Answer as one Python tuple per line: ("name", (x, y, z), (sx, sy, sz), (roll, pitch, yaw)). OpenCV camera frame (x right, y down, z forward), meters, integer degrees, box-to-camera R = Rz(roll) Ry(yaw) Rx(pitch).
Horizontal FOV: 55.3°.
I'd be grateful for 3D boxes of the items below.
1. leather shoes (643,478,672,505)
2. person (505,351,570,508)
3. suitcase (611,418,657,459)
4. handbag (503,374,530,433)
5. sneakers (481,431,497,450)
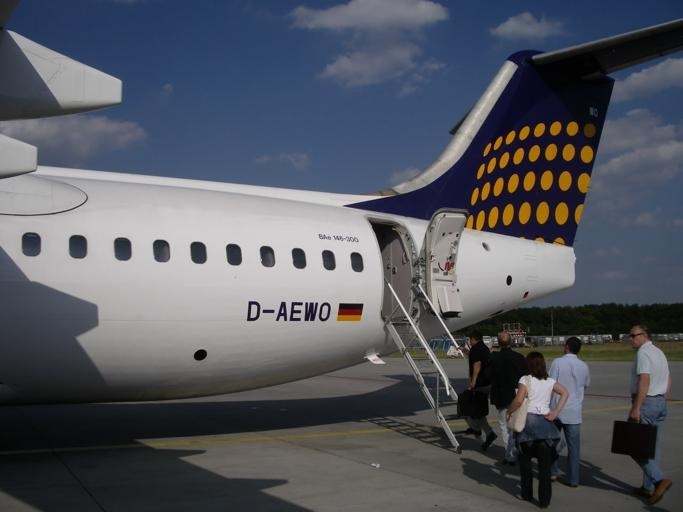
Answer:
("leather shoes", (4.926, 3.703, 10.216), (0.142, 0.435, 0.171), (23, 16, -23))
("person", (3.153, 2.733, 10.387), (0.763, 2.361, 0.992), (-1, -3, 37))
("suitcase", (4.454, 2.859, 9.993), (0.545, 0.509, 0.322), (1, -27, 36))
("handbag", (2.778, 2.351, 10.280), (0.343, 0.885, 0.312), (0, -3, 16))
("sneakers", (2.892, 3.643, 12.979), (0.133, 0.430, 0.254), (16, -8, 37))
